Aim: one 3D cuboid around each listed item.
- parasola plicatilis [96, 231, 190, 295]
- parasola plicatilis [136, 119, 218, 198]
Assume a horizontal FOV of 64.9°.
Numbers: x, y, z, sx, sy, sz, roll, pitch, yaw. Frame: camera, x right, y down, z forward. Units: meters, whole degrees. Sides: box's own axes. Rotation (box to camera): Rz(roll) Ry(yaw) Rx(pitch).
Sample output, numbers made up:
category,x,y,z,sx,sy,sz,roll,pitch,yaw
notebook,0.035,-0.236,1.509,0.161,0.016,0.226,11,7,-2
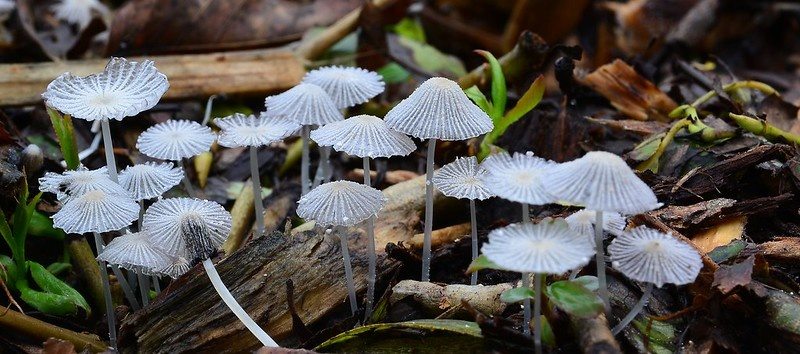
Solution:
category,x,y,z,sx,sy,sz,roll,pitch,yaw
parasola plicatilis,-2.670,0.773,6.519,0.844,0.282,0.772,7,2,-6
parasola plicatilis,-2.402,-0.209,6.756,0.656,0.616,0.595,21,49,15
